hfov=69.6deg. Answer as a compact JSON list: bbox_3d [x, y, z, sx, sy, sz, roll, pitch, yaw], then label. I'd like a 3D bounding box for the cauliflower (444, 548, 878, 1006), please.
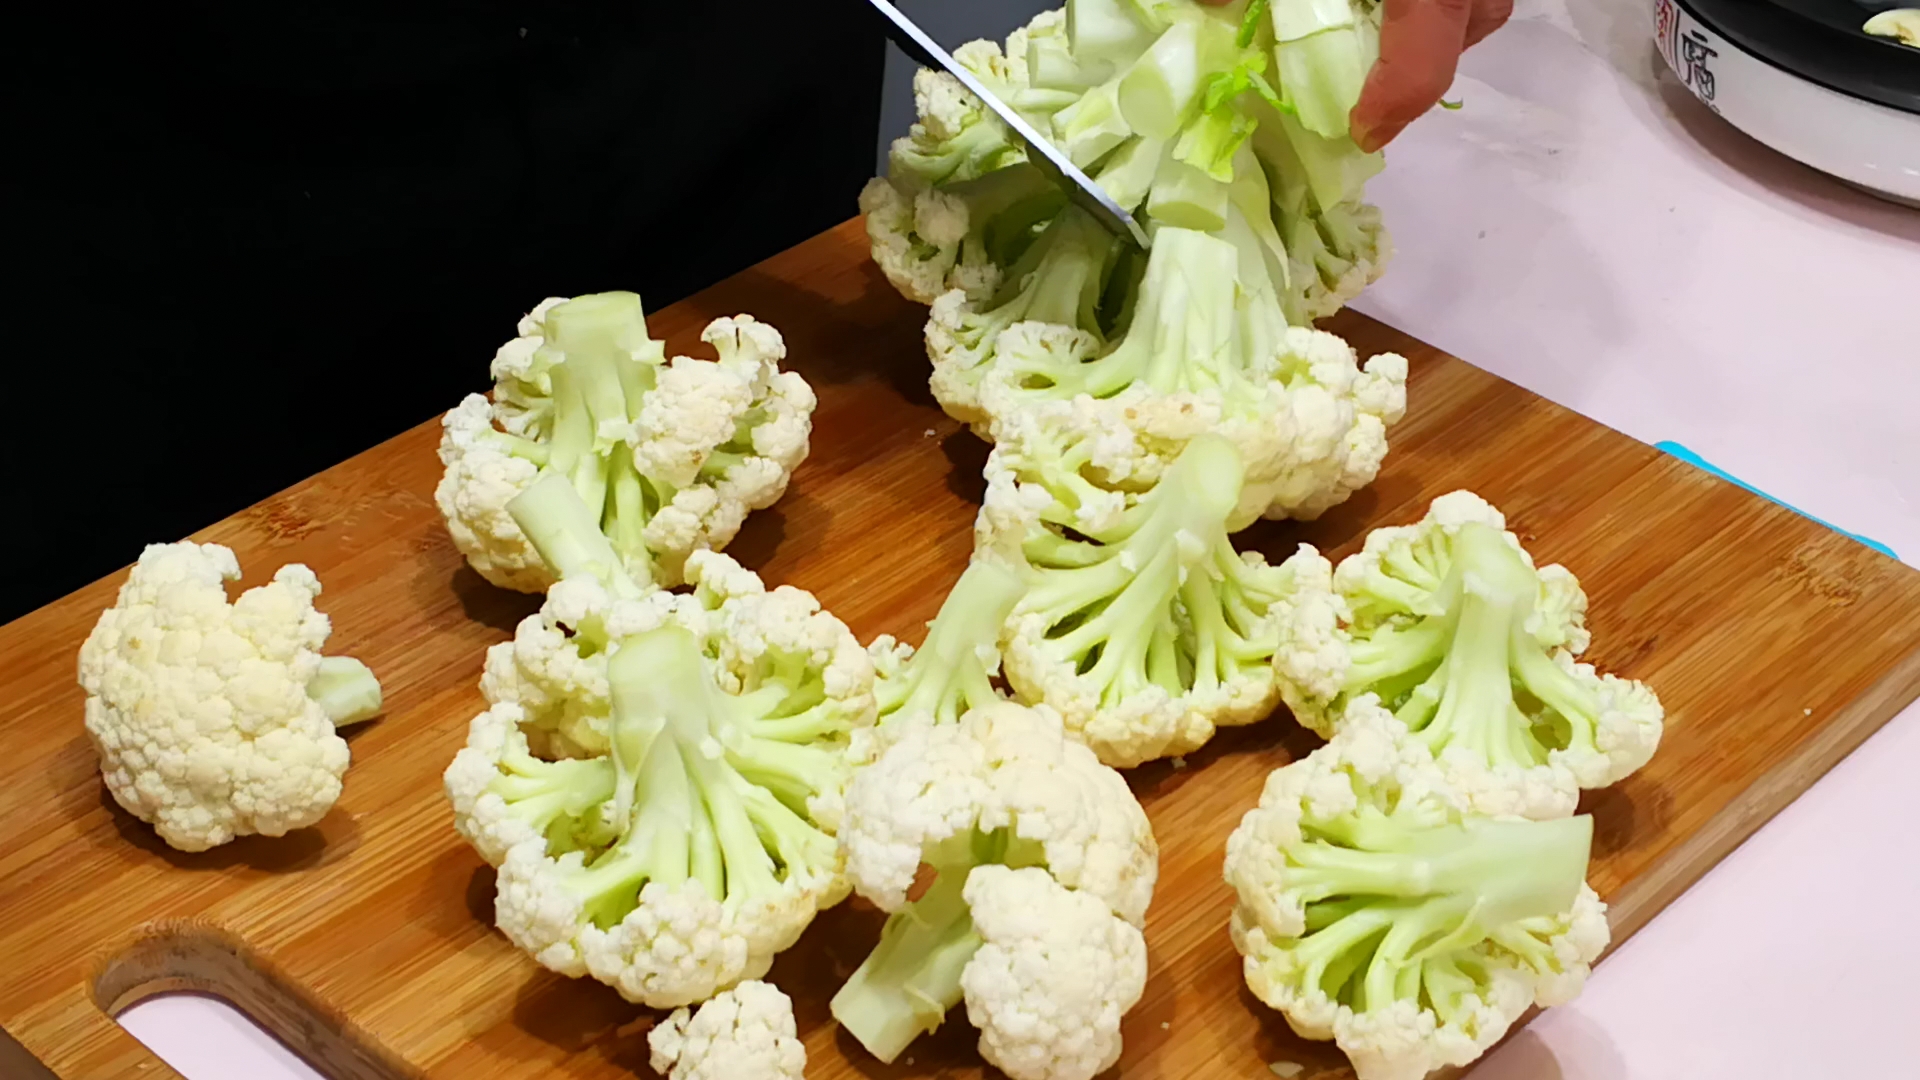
[{"bbox_3d":[-0.376,0.296,1.739,0.531,0.348,0.455,-1,33,-1],"label":"cauliflower"}]

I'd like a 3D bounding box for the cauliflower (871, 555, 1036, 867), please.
[{"bbox_3d":[-0.008,0.154,1.845,0.180,0.104,0.241,31,80,10],"label":"cauliflower"}]

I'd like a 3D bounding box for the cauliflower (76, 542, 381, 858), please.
[{"bbox_3d":[-0.995,0.224,1.887,0.368,0.226,0.357,13,67,-10],"label":"cauliflower"}]

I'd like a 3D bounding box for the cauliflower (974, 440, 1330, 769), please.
[{"bbox_3d":[0.203,0.093,2.007,0.440,0.313,0.489,10,40,-49],"label":"cauliflower"}]

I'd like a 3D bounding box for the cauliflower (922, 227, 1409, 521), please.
[{"bbox_3d":[0.301,-0.147,2.120,0.549,0.268,0.473,30,33,12],"label":"cauliflower"}]

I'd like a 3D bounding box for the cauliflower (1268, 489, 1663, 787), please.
[{"bbox_3d":[0.668,0.227,1.962,0.459,0.196,0.412,30,40,2],"label":"cauliflower"}]
